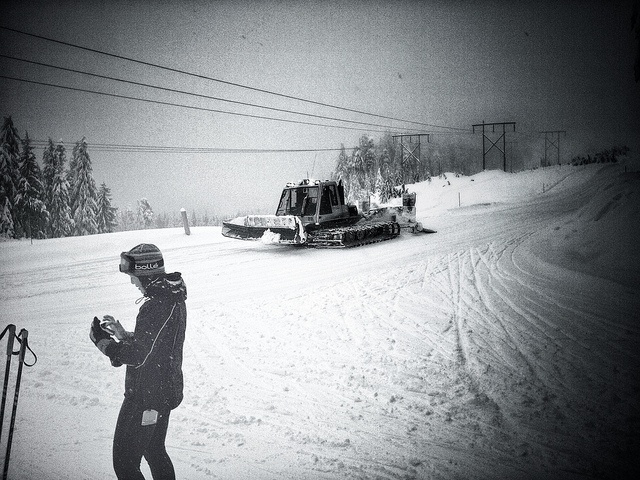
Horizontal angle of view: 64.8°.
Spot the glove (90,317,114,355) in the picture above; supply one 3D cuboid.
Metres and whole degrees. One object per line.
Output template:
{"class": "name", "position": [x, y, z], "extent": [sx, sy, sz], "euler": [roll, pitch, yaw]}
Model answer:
{"class": "glove", "position": [-2.371, 1.047, 5.579], "extent": [0.366, 0.299, 0.164], "euler": [46, 19, 24]}

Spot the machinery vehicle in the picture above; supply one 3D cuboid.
{"class": "machinery vehicle", "position": [0.442, -0.662, 15.767], "extent": [3.060, 1.500, 4.168], "euler": [1, 4, 42]}

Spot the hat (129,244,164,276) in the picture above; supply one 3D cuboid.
{"class": "hat", "position": [-1.910, 0.222, 5.593], "extent": [0.371, 0.380, 0.288], "euler": [3, -2, -14]}
